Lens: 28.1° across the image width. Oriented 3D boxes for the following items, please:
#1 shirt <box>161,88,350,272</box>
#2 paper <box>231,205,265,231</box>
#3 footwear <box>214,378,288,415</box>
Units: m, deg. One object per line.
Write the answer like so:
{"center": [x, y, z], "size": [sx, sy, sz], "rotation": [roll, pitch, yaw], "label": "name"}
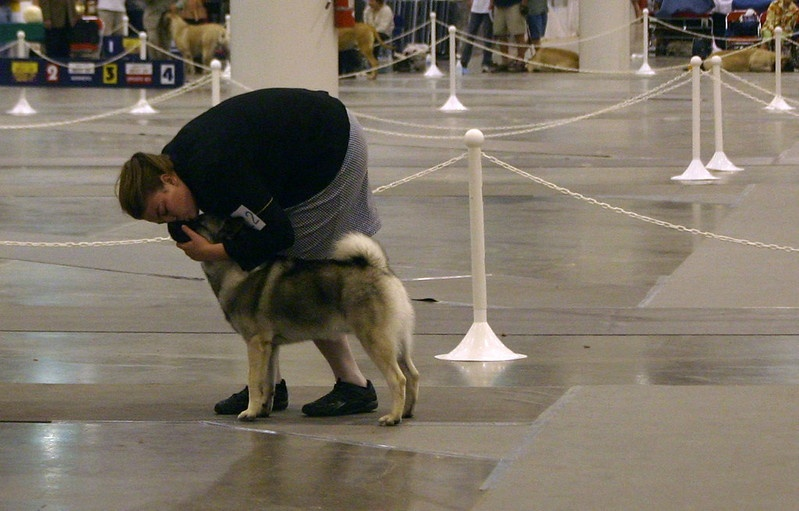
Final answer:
{"center": [-1.090, -0.807, 13.461], "size": [2.015, 1.129, 1.314], "rotation": [-12, 20, -13], "label": "shirt"}
{"center": [-1.233, -0.307, 12.975], "size": [0.265, 0.081, 0.222], "rotation": [26, 0, -29], "label": "paper"}
{"center": [-1.276, 1.190, 13.579], "size": [0.655, 0.193, 0.179], "rotation": [-6, -7, -3], "label": "footwear"}
